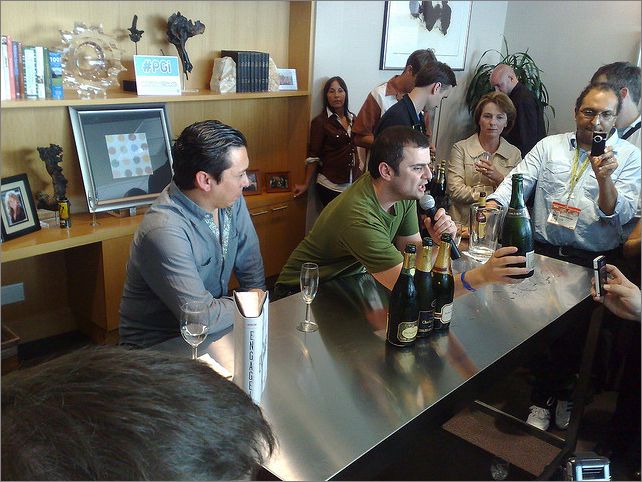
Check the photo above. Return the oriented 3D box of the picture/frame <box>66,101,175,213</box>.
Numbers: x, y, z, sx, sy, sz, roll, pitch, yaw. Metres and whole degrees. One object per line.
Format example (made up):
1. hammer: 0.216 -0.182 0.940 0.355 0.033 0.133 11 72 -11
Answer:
1. picture/frame: -1.393 -0.561 3.086 0.210 0.722 0.657 14 23 43

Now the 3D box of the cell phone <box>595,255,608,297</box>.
1. cell phone: 1.207 0.154 1.968 0.043 0.235 0.119 -1 13 33

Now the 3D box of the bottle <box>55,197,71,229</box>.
1. bottle: -1.667 -0.180 2.952 0.068 0.194 0.066 1 7 0

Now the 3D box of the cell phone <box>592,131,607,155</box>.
1. cell phone: 1.518 -0.527 2.494 0.069 0.131 0.075 6 9 33

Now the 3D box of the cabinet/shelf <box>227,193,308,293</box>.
1. cabinet/shelf: -0.371 -0.012 3.093 0.608 0.664 0.257 -22 35 -35

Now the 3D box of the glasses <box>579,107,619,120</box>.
1. glasses: 1.554 -0.714 2.563 0.167 0.056 0.060 7 9 31

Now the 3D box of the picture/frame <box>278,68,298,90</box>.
1. picture/frame: -0.306 -1.440 4.090 0.012 0.165 0.189 2 29 38

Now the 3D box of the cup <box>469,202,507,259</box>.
1. cup: 0.780 -0.028 2.184 0.166 0.233 0.147 7 -4 3
